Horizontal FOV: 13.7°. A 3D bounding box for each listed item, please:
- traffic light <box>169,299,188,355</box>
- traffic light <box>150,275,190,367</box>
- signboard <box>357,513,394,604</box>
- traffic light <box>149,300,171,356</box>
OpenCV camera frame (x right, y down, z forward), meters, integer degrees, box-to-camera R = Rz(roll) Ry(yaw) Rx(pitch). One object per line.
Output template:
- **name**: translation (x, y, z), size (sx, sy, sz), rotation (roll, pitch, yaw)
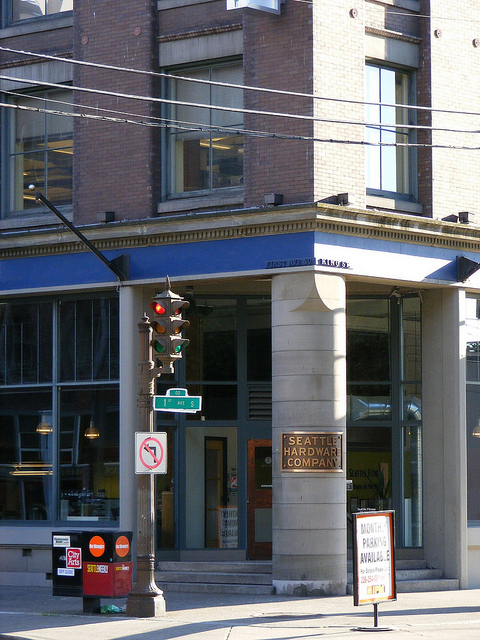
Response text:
- **traffic light**: translation (-0.853, 0.107, 28.940), size (0.293, 0.879, 0.274), rotation (-2, -3, 36)
- **traffic light**: translation (-0.984, 0.011, 29.045), size (0.686, 1.324, 0.659), rotation (3, -5, -41)
- **signboard**: translation (1.813, 3.322, 27.133), size (0.056, 1.494, 1.029), rotation (-5, -9, 29)
- **traffic light**: translation (-1.131, 0.115, 29.025), size (0.218, 0.830, 0.531), rotation (1, -7, -24)
